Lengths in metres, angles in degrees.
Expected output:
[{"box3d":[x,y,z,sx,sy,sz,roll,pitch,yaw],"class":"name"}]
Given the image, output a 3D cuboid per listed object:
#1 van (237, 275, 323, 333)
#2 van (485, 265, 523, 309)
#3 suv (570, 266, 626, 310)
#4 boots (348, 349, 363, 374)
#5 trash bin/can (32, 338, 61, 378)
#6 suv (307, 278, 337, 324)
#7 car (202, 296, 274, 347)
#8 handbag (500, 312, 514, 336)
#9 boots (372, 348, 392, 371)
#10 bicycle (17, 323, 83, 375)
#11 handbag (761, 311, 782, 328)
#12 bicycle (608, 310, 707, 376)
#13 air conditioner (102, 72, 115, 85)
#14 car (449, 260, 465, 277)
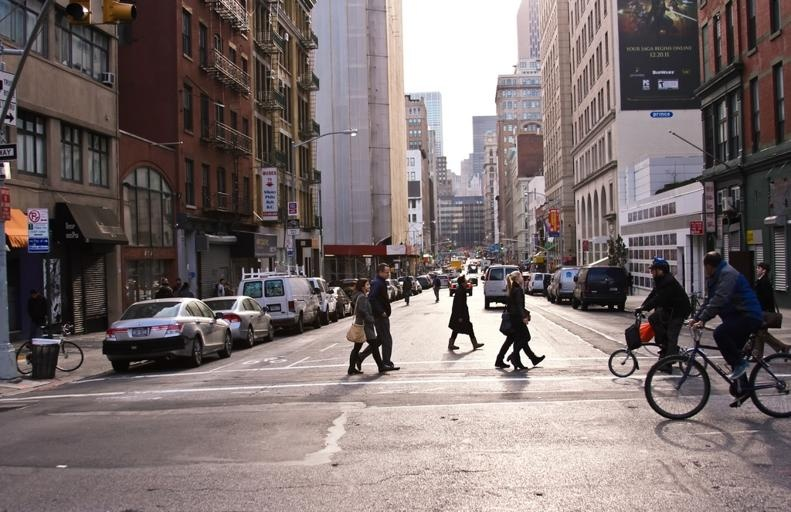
[{"box3d":[-4.620,1.762,32.831,1.721,1.669,3.882,-1,0,11],"class":"van"},{"box3d":[5.966,1.715,43.880,1.917,1.842,3.453,0,2,5],"class":"van"},{"box3d":[10.736,1.661,40.089,2.172,2.263,3.279,-6,-3,4],"class":"suv"},{"box3d":[-1.054,2.662,19.608,0.315,0.476,0.456,-6,-2,11],"class":"boots"},{"box3d":[-9.617,2.795,21.165,0.727,1.123,0.380,-4,-2,-20],"class":"trash bin/can"},{"box3d":[-3.420,2.070,37.555,0.915,1.330,2.564,-1,3,9],"class":"suv"},{"box3d":[-5.456,2.225,27.511,1.142,0.982,2.877,-1,0,8],"class":"car"},{"box3d":[2.805,1.678,19.451,0.306,0.582,0.460,-5,-2,8],"class":"handbag"},{"box3d":[-0.343,2.618,19.825,0.382,0.509,0.547,-7,-3,31],"class":"boots"},{"box3d":[-10.251,2.680,22.076,2.225,1.582,1.219,-2,-1,-5],"class":"bicycle"},{"box3d":[9.074,1.548,18.707,0.438,0.440,0.612,3,-4,-17],"class":"handbag"},{"box3d":[5.903,2.076,17.965,1.722,1.176,1.112,-1,0,-8],"class":"bicycle"},{"box3d":[-12.714,-7.808,34.148,0.445,0.642,0.831,-1,1,2],"class":"air conditioner"},{"box3d":[9.353,1.739,119.182,2.518,2.826,4.945,1,3,9],"class":"car"}]
